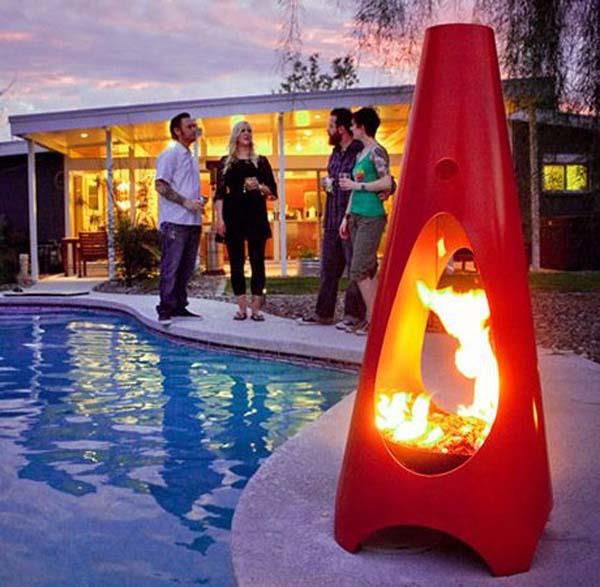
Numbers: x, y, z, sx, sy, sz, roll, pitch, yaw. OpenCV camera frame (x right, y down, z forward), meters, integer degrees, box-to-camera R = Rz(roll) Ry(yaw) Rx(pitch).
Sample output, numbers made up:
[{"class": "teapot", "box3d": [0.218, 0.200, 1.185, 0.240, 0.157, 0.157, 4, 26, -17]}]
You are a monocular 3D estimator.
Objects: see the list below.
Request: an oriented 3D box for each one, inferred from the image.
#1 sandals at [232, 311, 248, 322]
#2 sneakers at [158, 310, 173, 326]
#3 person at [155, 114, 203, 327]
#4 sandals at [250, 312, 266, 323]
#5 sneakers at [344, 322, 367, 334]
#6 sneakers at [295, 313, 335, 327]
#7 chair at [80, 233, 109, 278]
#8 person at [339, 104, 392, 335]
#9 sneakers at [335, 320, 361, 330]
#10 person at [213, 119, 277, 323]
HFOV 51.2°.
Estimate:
[{"class": "sandals", "box3d": [-0.530, 0.203, 5.504, 0.065, 0.090, 0.202, -1, -3, -3]}, {"class": "sneakers", "box3d": [-1.150, 0.217, 5.322, 0.112, 0.116, 0.201, -5, 6, -12]}, {"class": "person", "box3d": [-1.075, -0.533, 5.505, 0.453, 1.544, 0.580, -4, 5, -12]}, {"class": "sandals", "box3d": [-0.380, 0.210, 5.469, 0.069, 0.093, 0.221, -1, -2, -8]}, {"class": "sneakers", "box3d": [0.435, 0.259, 4.698, 0.123, 0.053, 0.077, -1, -1, -38]}, {"class": "sneakers", "box3d": [0.122, 0.231, 5.197, 0.312, 0.137, 0.121, 4, 3, 8]}, {"class": "chair", "box3d": [-4.282, -0.800, 12.876, 0.559, 0.911, 1.283, -5, 6, -19]}, {"class": "person", "box3d": [0.462, -0.488, 4.377, 0.378, 1.600, 0.800, -3, 5, 4]}, {"class": "sneakers", "box3d": [0.366, 0.241, 4.841, 0.189, 0.088, 0.072, 1, 0, -5]}, {"class": "person", "box3d": [-0.463, -0.613, 5.424, 0.535, 1.710, 0.550, -3, 5, -2]}]
